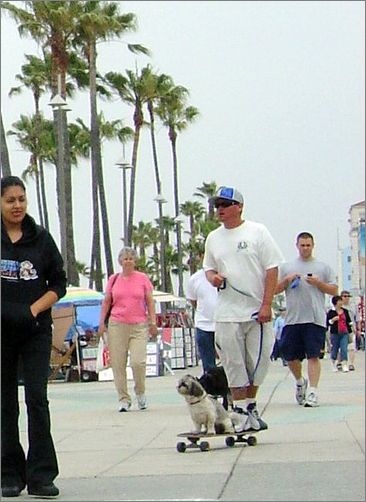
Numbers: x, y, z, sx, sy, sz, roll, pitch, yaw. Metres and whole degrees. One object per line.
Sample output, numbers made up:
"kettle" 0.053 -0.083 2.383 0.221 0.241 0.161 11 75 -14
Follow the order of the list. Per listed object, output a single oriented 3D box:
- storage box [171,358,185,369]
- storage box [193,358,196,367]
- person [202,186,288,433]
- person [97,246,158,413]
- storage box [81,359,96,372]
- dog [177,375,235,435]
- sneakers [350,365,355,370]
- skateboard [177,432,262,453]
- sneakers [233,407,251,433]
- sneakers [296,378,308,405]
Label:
"storage box" -0.151 2.972 21.877 0.347 0.266 0.298 -3 -1 -1
"storage box" 0.278 3.281 24.471 0.161 0.275 0.156 -1 -1 -7
"person" 0.478 0.464 6.631 0.652 1.805 0.410 -3 -1 9
"person" -0.704 0.975 10.398 0.724 1.792 0.434 -3 -1 -6
"storage box" -2.123 2.517 18.333 0.228 0.216 0.461 -3 -1 19
"dog" 0.179 1.234 6.526 0.262 0.514 0.549 -13 -14 42
"sneakers" 3.656 2.524 18.055 0.097 0.103 0.298 -1 -11 7
"skateboard" 0.262 1.466 6.419 0.481 0.119 0.251 0 -3 -3
"sneakers" 0.450 1.339 6.589 0.130 0.179 0.189 1 -13 2
"sneakers" 1.428 1.712 10.090 0.111 0.332 0.149 0 -17 27
